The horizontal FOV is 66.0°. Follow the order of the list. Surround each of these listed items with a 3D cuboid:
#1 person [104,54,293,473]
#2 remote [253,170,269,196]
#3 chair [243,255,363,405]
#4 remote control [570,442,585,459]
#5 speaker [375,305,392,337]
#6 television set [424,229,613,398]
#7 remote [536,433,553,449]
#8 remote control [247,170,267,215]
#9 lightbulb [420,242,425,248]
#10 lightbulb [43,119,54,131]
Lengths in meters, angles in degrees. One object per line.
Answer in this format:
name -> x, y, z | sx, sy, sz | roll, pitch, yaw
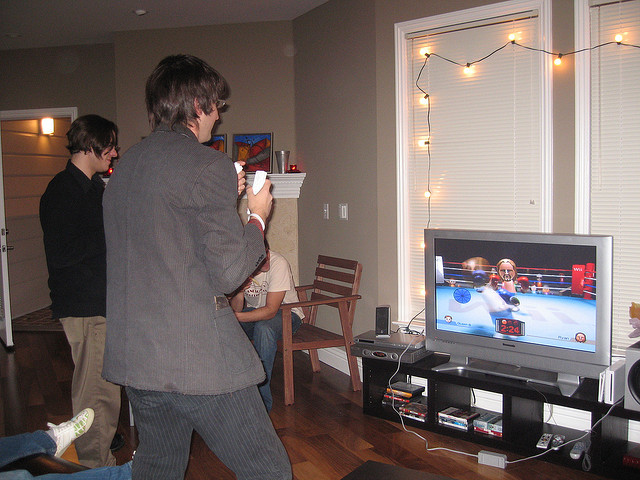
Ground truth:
person -> -0.444, 0.098, 1.677 | 0.596, 1.452, 0.365 | -3, 7, -18
remote -> -0.217, -0.198, 1.797 | 0.049, 0.091, 0.023 | 10, -11, 29
chair -> -0.149, 0.688, 3.948 | 0.771, 1.025, 0.805 | 0, 1, -21
remote control -> 1.415, 1.165, 2.714 | 0.047, 0.025, 0.107 | -1, 22, 38
speaker -> 0.435, 0.565, 3.380 | 0.097, 0.200, 0.103 | -1, 7, 4
television set -> 1.171, 0.422, 2.835 | 1.006, 0.869, 0.386 | 2, 1, 37
remote -> 1.288, 1.149, 2.825 | 0.049, 0.023, 0.110 | 0, 15, 36
remote control -> -0.245, -0.171, 1.814 | 0.037, 0.131, 0.097 | 25, 9, 24
lightbulb -> 0.752, 0.045, 3.602 | 0.028, 0.036, 0.051 | -6, -13, 21
lightbulb -> -3.604, -1.523, 6.585 | 0.130, 0.162, 0.144 | 5, 9, 40
